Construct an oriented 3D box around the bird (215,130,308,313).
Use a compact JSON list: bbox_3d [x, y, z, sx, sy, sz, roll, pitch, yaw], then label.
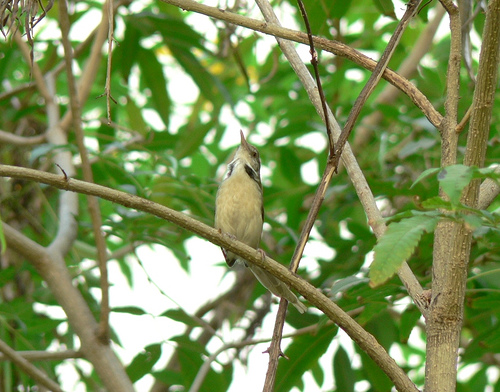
[{"bbox_3d":[0.107,0.258,5.548,0.370,1.685,0.938,-13,3,13],"label":"bird"}]
